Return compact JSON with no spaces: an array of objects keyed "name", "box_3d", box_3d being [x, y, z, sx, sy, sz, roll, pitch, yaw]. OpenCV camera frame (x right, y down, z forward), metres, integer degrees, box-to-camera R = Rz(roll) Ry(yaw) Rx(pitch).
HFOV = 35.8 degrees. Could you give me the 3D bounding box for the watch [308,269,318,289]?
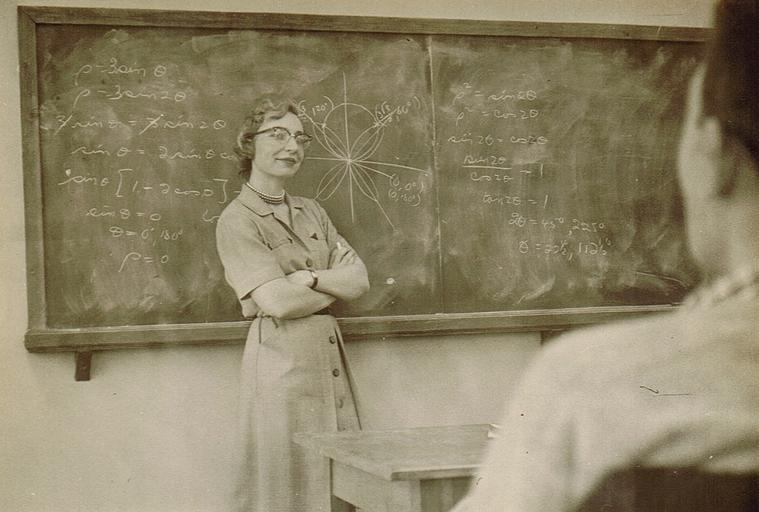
[{"name":"watch","box_3d":[-0.283,0.099,5.039,0.040,0.076,0.038,-5,3,-10]}]
